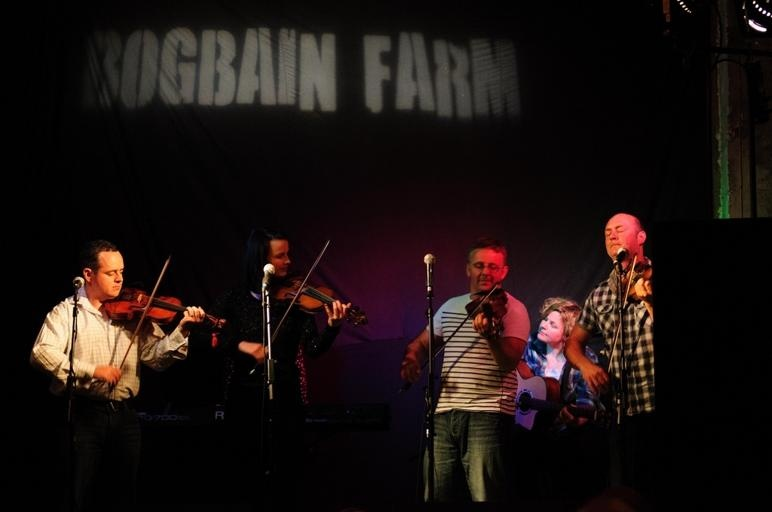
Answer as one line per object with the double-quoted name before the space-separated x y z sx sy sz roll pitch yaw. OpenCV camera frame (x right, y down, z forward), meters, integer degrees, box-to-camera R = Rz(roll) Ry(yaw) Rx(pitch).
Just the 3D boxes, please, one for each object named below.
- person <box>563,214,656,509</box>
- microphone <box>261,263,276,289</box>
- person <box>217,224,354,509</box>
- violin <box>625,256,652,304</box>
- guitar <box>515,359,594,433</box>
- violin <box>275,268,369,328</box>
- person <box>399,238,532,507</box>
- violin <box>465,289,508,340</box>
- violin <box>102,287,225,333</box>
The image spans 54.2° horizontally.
"person" 1.810 0.698 5.890 0.695 2.250 0.706 14 -20 -35
"microphone" -0.873 0.124 5.657 0.078 0.068 0.244 18 34 -2
"person" -0.878 0.834 5.893 0.910 2.127 0.648 3 -16 -4
"violin" 1.927 0.204 5.747 0.195 0.338 0.100 -18 -5 38
"guitar" 1.287 1.163 5.922 0.173 0.620 1.220 12 -9 -13
"violin" -0.484 0.359 5.853 0.390 0.161 0.986 -35 22 -22
"person" 0.760 0.888 5.956 0.736 1.987 0.596 -4 -17 18
"violin" 0.774 0.446 5.821 0.325 0.403 0.307 -3 -17 13
"violin" -1.728 0.402 5.921 0.926 0.182 0.370 12 26 -6
